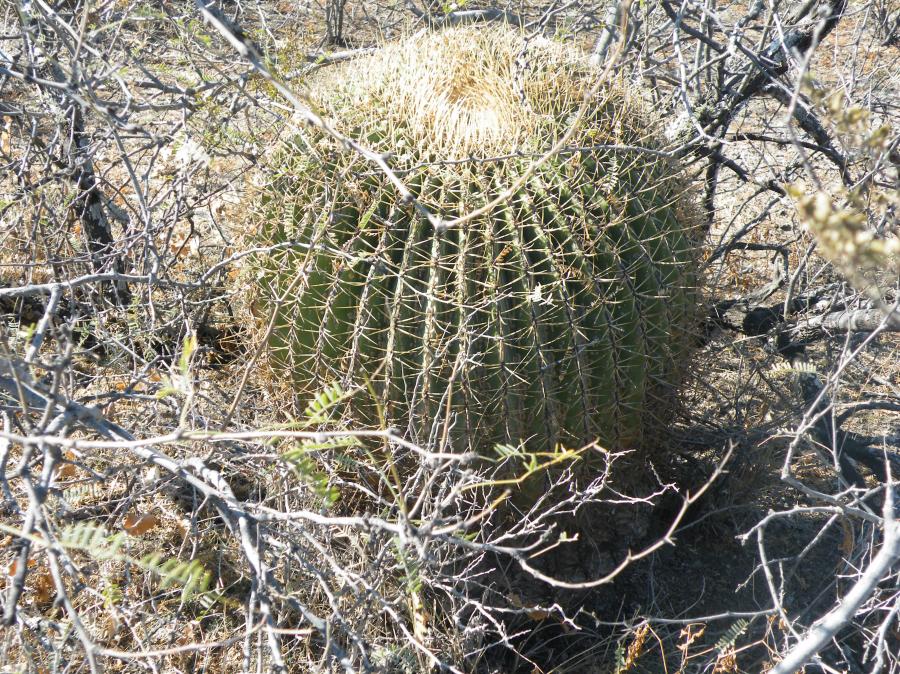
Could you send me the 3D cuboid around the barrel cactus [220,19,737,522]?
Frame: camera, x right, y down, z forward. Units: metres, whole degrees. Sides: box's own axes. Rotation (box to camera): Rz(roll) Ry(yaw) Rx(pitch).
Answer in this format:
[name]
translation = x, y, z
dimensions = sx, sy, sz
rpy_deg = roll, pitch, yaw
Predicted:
[barrel cactus]
translation = 0.311, -0.302, 5.116
dimensions = 2.005, 2.101, 2.076
rpy_deg = 6, 33, 11
